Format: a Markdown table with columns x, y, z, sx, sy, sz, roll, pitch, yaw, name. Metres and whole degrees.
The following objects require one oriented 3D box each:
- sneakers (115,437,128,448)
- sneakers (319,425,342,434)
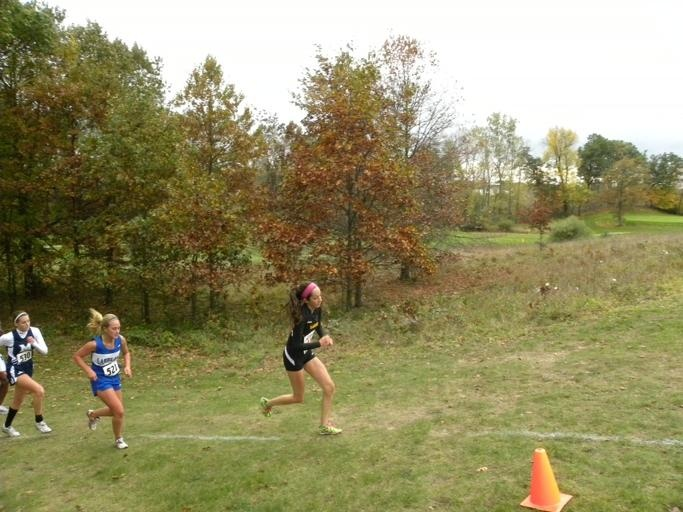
| x | y | z | sx | sy | sz | roll | pitch | yaw | name |
| --- | --- | --- | --- | --- | --- | --- | --- | --- | --- |
| -4.778 | 4.109 | 13.461 | 0.142 | 0.140 | 0.343 | 4 | -8 | -39 | sneakers |
| -0.233 | 3.997 | 14.199 | 0.544 | 0.225 | 0.192 | 1 | -2 | -2 | sneakers |
